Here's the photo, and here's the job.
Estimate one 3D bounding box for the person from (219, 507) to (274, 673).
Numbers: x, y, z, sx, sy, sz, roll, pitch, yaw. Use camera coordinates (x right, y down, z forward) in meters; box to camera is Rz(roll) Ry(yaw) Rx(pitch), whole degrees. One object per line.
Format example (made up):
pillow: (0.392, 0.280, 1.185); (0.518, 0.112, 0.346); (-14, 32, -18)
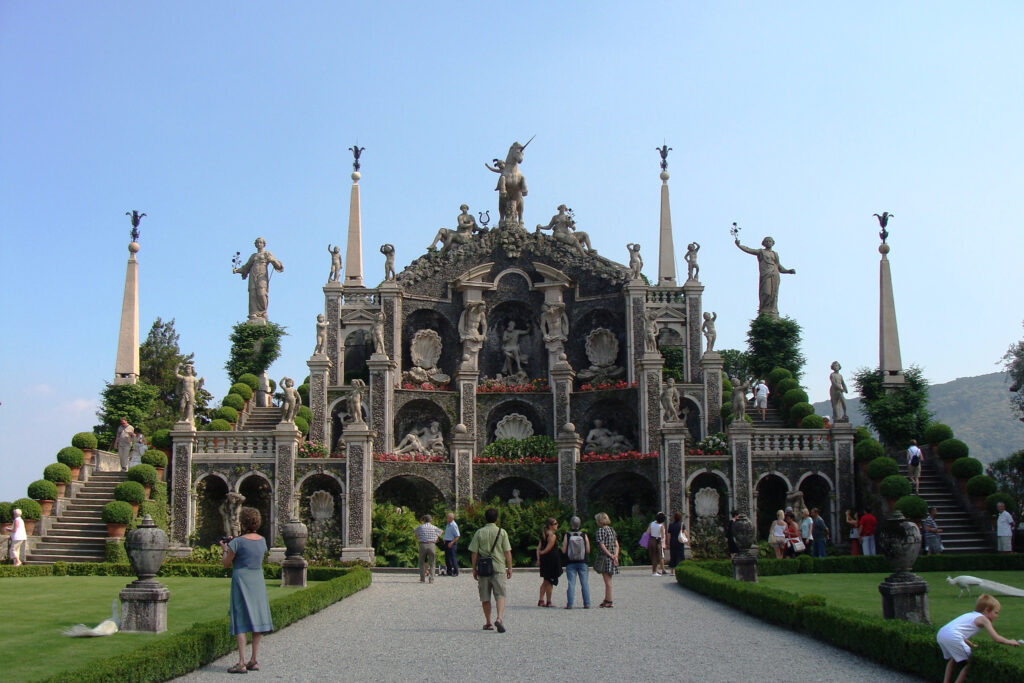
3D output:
person: (-5.146, 4.793, 24.912); (0.858, 3.162, 0.644); (0, -16, -10)

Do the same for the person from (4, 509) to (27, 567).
person: (-16.354, 6.379, 42.342); (0.505, 1.851, 0.771); (2, -16, -16)

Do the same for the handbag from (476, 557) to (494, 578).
handbag: (-0.616, 4.949, 28.174); (0.411, 0.519, 0.272); (-1, -17, 1)

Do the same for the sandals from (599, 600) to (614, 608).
sandals: (2.276, 6.392, 31.290); (0.415, 0.157, 0.138); (4, -7, -4)

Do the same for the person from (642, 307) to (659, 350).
person: (5.561, -0.573, 52.649); (0.441, 2.023, 0.798); (-3, -15, -1)

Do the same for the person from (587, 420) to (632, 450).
person: (3.787, 3.846, 52.255); (1.362, 0.831, 1.372); (-4, -3, 28)

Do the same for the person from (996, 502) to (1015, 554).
person: (16.372, 6.162, 43.010); (0.633, 1.790, 1.275); (-8, -16, 18)

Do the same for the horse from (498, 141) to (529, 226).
horse: (-0.078, -6.961, 55.364); (1.099, 4.146, 2.581); (-3, -15, 0)

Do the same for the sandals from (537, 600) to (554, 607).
sandals: (0.795, 6.462, 31.671); (0.408, 0.164, 0.135); (0, -3, -20)
